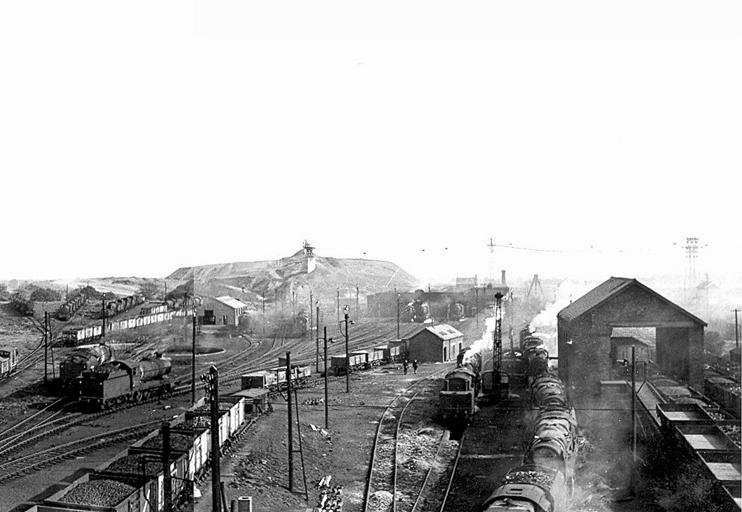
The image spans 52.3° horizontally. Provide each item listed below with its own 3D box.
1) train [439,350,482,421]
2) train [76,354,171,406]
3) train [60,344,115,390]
[{"bbox_3d":[8.250,11.982,68.592,2.001,2.976,7.845,-1,-1,10],"label":"train"},{"bbox_3d":[-22.138,11.495,69.592,3.014,2.985,8.259,2,2,19],"label":"train"},{"bbox_3d":[-27.466,10.732,72.038,3.005,3.277,7.941,0,-3,-7],"label":"train"}]
